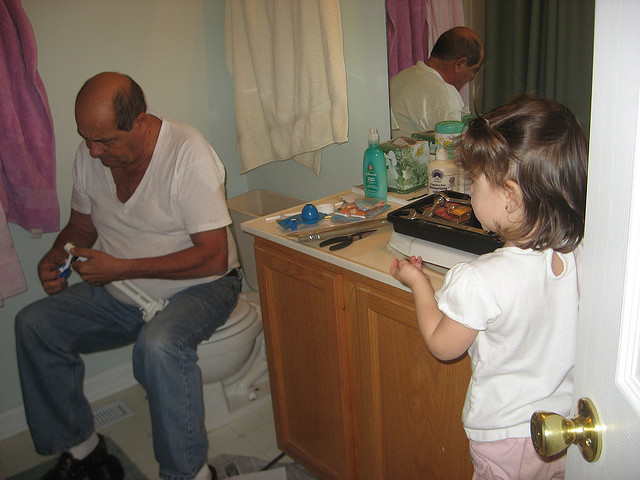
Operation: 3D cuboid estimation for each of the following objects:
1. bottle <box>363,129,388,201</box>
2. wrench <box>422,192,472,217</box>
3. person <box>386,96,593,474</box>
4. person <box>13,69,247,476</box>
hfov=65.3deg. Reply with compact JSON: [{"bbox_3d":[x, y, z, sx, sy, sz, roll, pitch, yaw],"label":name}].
[{"bbox_3d":[0.191,-0.251,1.675,0.083,0.231,0.099,-8,14,-7],"label":"bottle"},{"bbox_3d":[0.350,-0.111,1.385,0.115,0.039,0.066,11,32,36],"label":"wrench"},{"bbox_3d":[0.334,0.134,1.010,0.360,0.787,0.185,2,15,29],"label":"person"},{"bbox_3d":[-0.717,0.155,1.818,0.825,1.436,0.622,-1,15,20],"label":"person"}]
